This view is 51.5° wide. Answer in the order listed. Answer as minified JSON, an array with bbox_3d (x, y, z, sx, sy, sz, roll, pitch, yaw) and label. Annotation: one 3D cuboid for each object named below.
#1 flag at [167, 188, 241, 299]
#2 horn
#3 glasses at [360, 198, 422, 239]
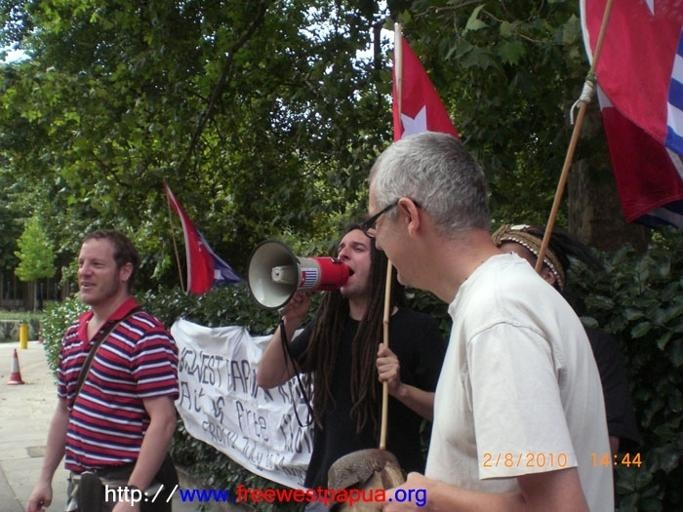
[{"bbox_3d":[-1.672,-0.122,8.733,0.866,1.354,0.976,11,-15,-29],"label":"flag"},{"bbox_3d":[-0.227,0.092,3.781,0.418,0.379,0.539,2,2,40],"label":"horn"},{"bbox_3d":[0.170,-0.170,2.848,0.185,0.053,0.186,-43,-2,12],"label":"glasses"}]
